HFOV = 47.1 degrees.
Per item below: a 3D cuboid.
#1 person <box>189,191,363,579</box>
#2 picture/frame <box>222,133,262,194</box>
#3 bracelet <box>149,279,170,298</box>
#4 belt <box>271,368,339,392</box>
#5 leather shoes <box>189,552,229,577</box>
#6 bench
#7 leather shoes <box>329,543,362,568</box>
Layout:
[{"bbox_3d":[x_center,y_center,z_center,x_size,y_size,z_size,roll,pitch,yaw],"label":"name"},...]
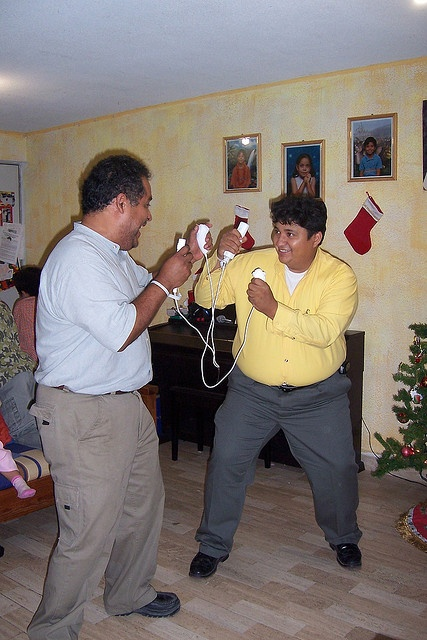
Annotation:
[{"bbox_3d":[0.252,0.259,1.865,0.637,1.417,0.527,-2,2,-33],"label":"person"},{"bbox_3d":[0.210,-1.094,3.396,0.423,0.537,0.039,7,14,32],"label":"picture/frame"},{"bbox_3d":[-0.141,-0.082,1.304,0.009,0.039,0.040,-45,16,-15],"label":"bracelet"},{"bbox_3d":[0.349,0.232,1.803,0.244,0.059,0.051,-1,2,-17],"label":"belt"},{"bbox_3d":[-0.027,0.932,1.883,0.053,0.061,0.148,3,-2,27],"label":"leather shoes"},{"bbox_3d":[0.080,0.524,3.129,0.666,0.615,0.487,5,3,31],"label":"bench"},{"bbox_3d":[0.525,0.915,1.922,0.054,0.053,0.128,-1,-2,-12],"label":"leather shoes"}]
